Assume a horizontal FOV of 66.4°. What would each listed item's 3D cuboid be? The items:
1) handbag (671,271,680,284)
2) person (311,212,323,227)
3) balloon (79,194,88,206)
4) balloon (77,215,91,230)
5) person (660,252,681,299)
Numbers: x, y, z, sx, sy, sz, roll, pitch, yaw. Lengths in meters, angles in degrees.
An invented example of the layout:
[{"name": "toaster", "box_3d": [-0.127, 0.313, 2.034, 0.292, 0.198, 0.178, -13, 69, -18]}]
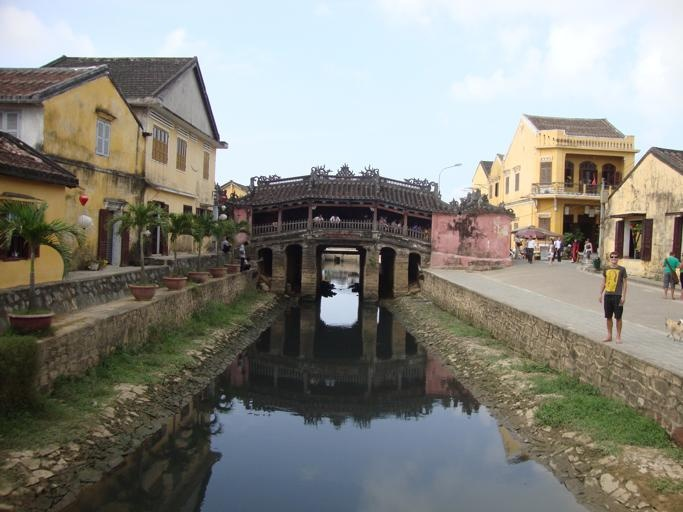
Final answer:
[{"name": "handbag", "box_3d": [11.420, 0.700, 17.993, 0.178, 0.268, 0.355, -12, -44, 29]}, {"name": "person", "box_3d": [-1.510, -2.347, 33.707, 0.894, 0.924, 2.789, 1, 1, 2]}, {"name": "balloon", "box_3d": [-8.497, -1.850, 17.249, 0.358, 0.467, 0.360, -2, 13, -28]}, {"name": "balloon", "box_3d": [-8.473, -1.157, 17.397, 0.424, 0.496, 0.474, 5, 7, 27]}, {"name": "person", "box_3d": [11.566, 0.646, 18.391, 0.478, 1.250, 2.382, 2, 1, 32]}]
